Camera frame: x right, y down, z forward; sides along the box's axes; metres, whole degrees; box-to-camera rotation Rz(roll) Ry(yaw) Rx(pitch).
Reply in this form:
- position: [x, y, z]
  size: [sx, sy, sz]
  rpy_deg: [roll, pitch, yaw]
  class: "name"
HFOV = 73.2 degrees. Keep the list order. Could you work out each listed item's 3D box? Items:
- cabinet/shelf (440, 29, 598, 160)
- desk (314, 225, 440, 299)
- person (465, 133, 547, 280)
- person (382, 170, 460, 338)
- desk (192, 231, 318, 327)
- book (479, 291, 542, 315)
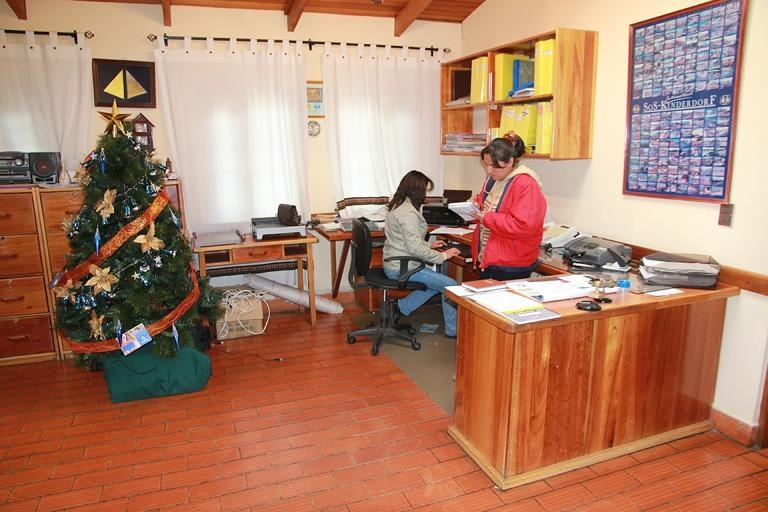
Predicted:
- position: [1.294, -1.505, 4.839]
  size: [0.516, 1.018, 1.835]
  rpy_deg: [-3, 9, -19]
  class: "cabinet/shelf"
- position: [-0.307, 0.027, 5.807]
  size: [0.884, 0.733, 0.845]
  rpy_deg: [-2, 11, -24]
  class: "desk"
- position: [1.000, -0.356, 4.178]
  size: [0.551, 1.204, 0.606]
  rpy_deg: [0, 17, 9]
  class: "person"
- position: [0.332, 0.026, 4.872]
  size: [0.687, 1.616, 0.606]
  rpy_deg: [-4, 17, -6]
  class: "person"
- position: [-1.336, 0.216, 5.434]
  size: [1.189, 0.974, 0.794]
  rpy_deg: [-7, 17, -18]
  class: "desk"
- position: [0.804, 0.301, 3.389]
  size: [0.327, 0.041, 0.358]
  rpy_deg: [-11, 18, -31]
  class: "book"
